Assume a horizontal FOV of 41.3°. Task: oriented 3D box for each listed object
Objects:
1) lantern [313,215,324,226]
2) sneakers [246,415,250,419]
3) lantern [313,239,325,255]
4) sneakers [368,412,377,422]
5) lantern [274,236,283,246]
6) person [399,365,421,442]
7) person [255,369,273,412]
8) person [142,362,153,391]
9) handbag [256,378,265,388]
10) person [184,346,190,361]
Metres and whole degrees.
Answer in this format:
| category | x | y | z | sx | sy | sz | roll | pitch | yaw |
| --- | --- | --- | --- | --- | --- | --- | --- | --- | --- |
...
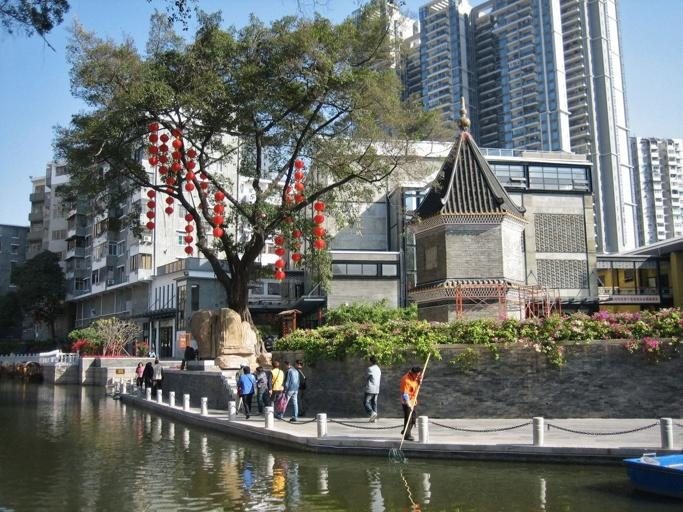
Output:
| category | x | y | z | sx | sy | sz | roll | pitch | yaw |
| --- | --- | --- | --- | --- | --- | --- | --- | --- | --- |
| lantern | -0.945 | -1.535 | 39.574 | 0.454 | 0.593 | 0.453 | -1 | 2 | -18 |
| sneakers | -3.813 | 6.535 | 36.695 | 0.140 | 0.187 | 0.095 | 6 | -11 | -42 |
| lantern | -1.004 | -0.377 | 40.125 | 0.560 | 0.902 | 0.609 | -3 | -1 | -1 |
| sneakers | 1.178 | 6.255 | 34.971 | 0.186 | 0.551 | 0.217 | -23 | 43 | -36 |
| lantern | -2.990 | -0.679 | 42.036 | 0.351 | 0.496 | 0.421 | 3 | 3 | 10 |
| person | 2.416 | 5.205 | 32.062 | 0.675 | 2.544 | 1.208 | -4 | -8 | 21 |
| person | -3.319 | 5.576 | 37.975 | 0.633 | 2.221 | 0.602 | -8 | 21 | -24 |
| person | -10.090 | 6.189 | 47.193 | 0.508 | 1.353 | 1.710 | 1 | -9 | -13 |
| handbag | -3.356 | 5.291 | 37.576 | 0.298 | 0.331 | 0.326 | 0 | -2 | -7 |
| person | -7.838 | 4.935 | 45.954 | 0.291 | 0.737 | 0.746 | 2 | -9 | -17 |
